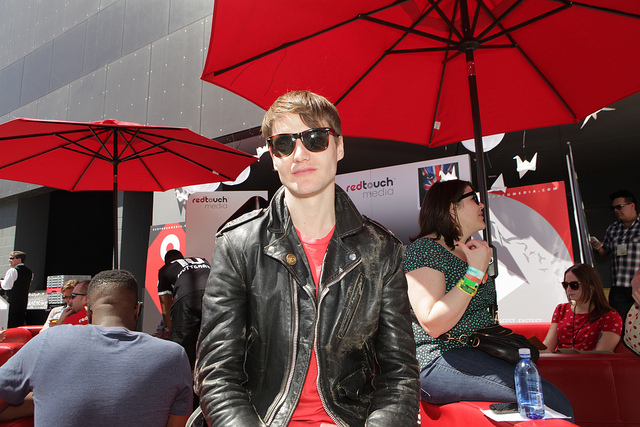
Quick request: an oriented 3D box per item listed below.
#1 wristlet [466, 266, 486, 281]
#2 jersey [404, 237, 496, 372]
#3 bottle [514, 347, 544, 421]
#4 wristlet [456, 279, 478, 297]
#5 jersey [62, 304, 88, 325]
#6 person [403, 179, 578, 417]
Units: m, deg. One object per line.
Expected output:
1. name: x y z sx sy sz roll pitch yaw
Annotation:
1. wristlet: 1.096 0.412 2.983 0.086 0.058 0.090 18 -19 10
2. jersey: 0.945 0.573 3.257 0.536 1.045 0.728 4 7 7
3. bottle: 1.310 1.045 2.673 0.150 0.385 0.211 -7 -10 24
4. wristlet: 1.027 0.510 2.949 0.104 0.068 0.108 27 -6 6
5. jersey: -3.187 1.309 5.534 0.404 0.200 0.180 -13 -13 41
6. person: 1.192 0.711 3.166 0.971 1.891 0.878 -3 -2 37
